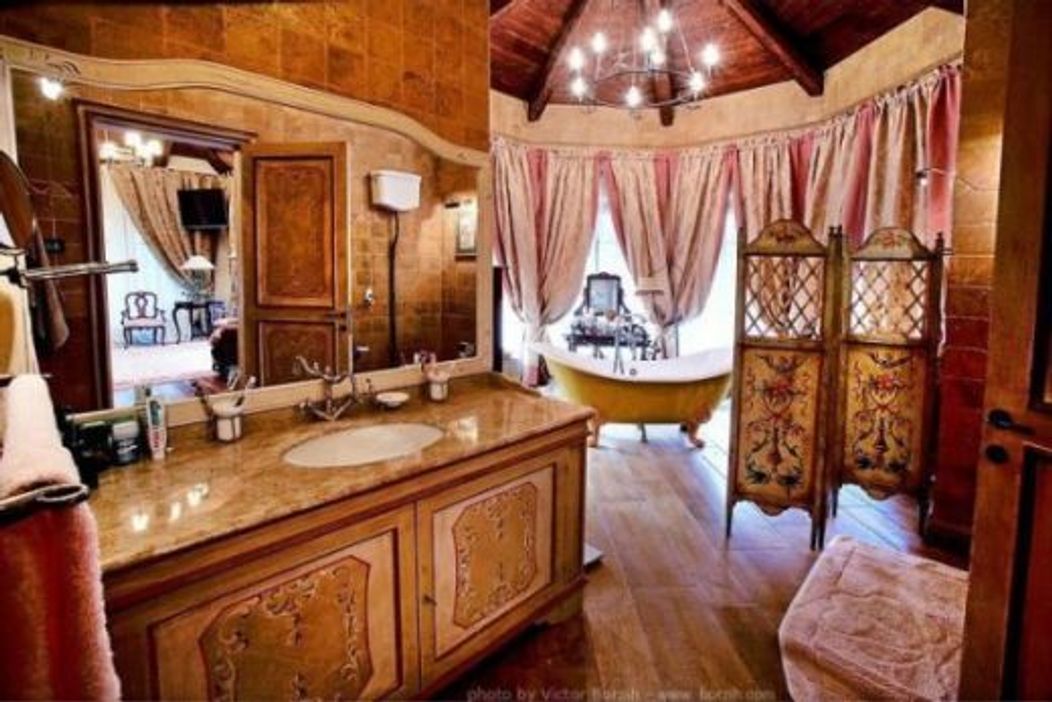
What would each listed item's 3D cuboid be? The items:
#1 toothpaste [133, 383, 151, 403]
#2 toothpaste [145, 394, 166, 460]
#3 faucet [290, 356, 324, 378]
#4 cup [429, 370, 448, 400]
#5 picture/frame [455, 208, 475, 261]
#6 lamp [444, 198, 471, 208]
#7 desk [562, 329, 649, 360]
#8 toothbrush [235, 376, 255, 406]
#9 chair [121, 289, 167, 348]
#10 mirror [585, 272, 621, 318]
[{"bbox_3d":[-1.528,0.167,2.884,0.068,0.091,0.076,-4,5,-44],"label":"toothpaste"},{"bbox_3d":[-1.479,0.295,2.880,0.016,0.156,0.078,-4,0,29],"label":"toothpaste"},{"bbox_3d":[-1.014,0.074,3.354,0.052,0.079,0.190,-6,14,-39],"label":"faucet"},{"bbox_3d":[-0.443,0.172,3.692,0.134,0.139,0.124,-1,3,0],"label":"cup"},{"bbox_3d":[-0.322,-0.627,3.831,0.140,0.243,0.015,-8,15,-37],"label":"picture/frame"},{"bbox_3d":[-0.358,-0.773,3.793,0.054,0.042,0.106,3,5,40],"label":"lamp"},{"bbox_3d":[0.793,-0.101,7.132,0.743,0.447,0.289,-1,7,-3],"label":"desk"},{"bbox_3d":[-1.216,0.169,3.149,0.037,0.140,0.033,28,-23,-25],"label":"toothbrush"},{"bbox_3d":[-1.539,-0.140,2.905,0.200,0.267,0.144,-4,13,-31],"label":"chair"},{"bbox_3d":[0.776,-0.558,7.261,0.488,0.636,0.064,0,2,-3],"label":"mirror"}]
